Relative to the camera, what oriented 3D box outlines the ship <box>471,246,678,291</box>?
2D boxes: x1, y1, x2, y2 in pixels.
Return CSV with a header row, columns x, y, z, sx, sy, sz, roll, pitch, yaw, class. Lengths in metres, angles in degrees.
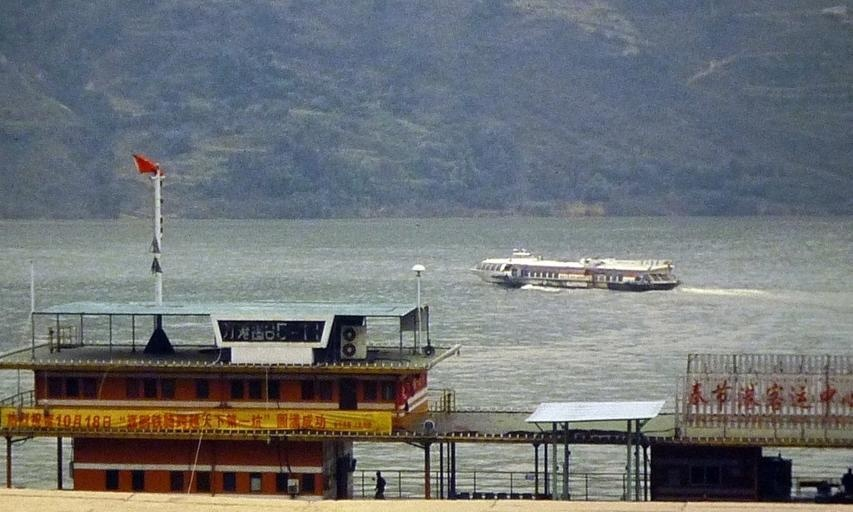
x,y,z,sx,sy,sz,roll,pitch,yaw,class
30.204,4.149,460.696,39.550,8.243,11.025,-3,-5,27,ship
